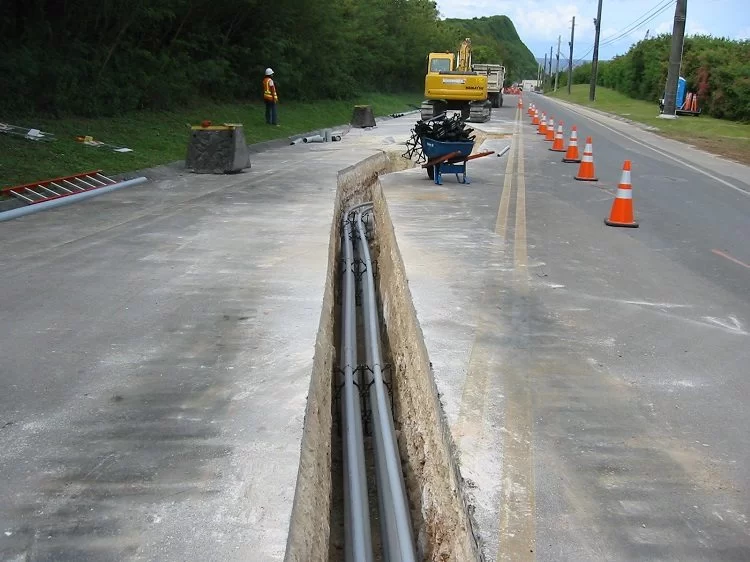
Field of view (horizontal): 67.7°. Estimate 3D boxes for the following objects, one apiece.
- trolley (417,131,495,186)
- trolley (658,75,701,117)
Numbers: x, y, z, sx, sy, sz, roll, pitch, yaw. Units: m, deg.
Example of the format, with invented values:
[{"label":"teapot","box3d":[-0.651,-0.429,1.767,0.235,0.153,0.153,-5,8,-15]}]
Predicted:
[{"label":"trolley","box3d":[1.578,-2.781,12.881,0.902,0.854,1.918,-3,19,-16]},{"label":"trolley","box3d":[24.107,-14.382,43.870,1.686,2.342,4.577,-21,34,-33]}]
